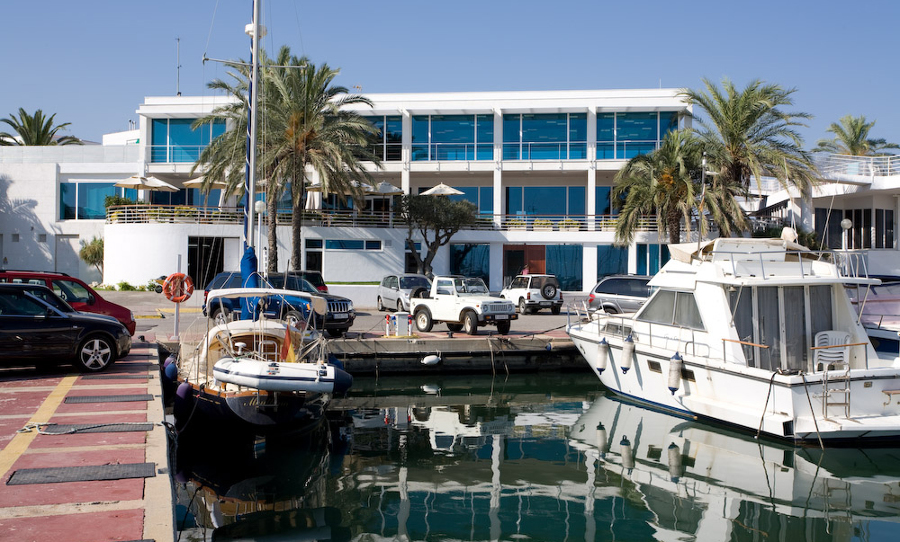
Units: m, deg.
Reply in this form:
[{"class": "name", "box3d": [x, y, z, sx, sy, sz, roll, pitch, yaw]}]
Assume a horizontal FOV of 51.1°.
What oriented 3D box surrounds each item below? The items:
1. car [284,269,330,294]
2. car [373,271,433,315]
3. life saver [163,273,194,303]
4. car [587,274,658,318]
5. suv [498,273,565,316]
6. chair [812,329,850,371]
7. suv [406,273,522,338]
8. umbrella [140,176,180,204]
[{"class": "car", "box3d": [-6.222, 0.510, 40.932, 1.646, 0.864, 0.983, -1, 0, 36]}, {"class": "car", "box3d": [-2.216, 1.191, 46.417, 2.059, 1.897, 3.725, 3, 0, -27]}, {"class": "life saver", "box3d": [-10.413, 0.716, 35.716, 1.177, 1.203, 0.324, -10, 1, -38]}, {"class": "car", "box3d": [7.152, 0.996, 39.946, 1.924, 2.159, 4.456, 1, -1, -15]}, {"class": "suv", "box3d": [4.020, 1.352, 47.311, 4.599, 2.380, 2.339, 0, 0, 29]}, {"class": "chair", "box3d": [12.211, 2.592, 30.402, 1.140, 1.746, 1.316, -2, -2, 24]}, {"class": "suv", "box3d": [0.489, 1.544, 40.259, 2.596, 2.354, 4.854, -1, 2, -40]}, {"class": "umbrella", "box3d": [-17.947, -4.952, 58.559, 2.124, 0.994, 2.066, -1, 1, -2]}]
